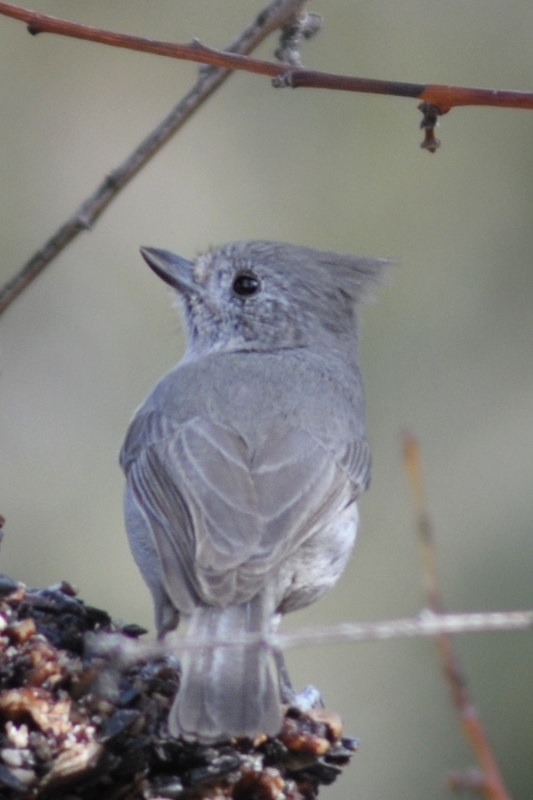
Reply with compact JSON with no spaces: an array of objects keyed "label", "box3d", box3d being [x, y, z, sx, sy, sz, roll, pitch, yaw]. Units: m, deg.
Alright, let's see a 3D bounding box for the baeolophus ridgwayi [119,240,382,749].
[{"label":"baeolophus ridgwayi","box3d":[-0.024,0.078,1.629,0.265,0.653,0.442,4,-61,-2]}]
